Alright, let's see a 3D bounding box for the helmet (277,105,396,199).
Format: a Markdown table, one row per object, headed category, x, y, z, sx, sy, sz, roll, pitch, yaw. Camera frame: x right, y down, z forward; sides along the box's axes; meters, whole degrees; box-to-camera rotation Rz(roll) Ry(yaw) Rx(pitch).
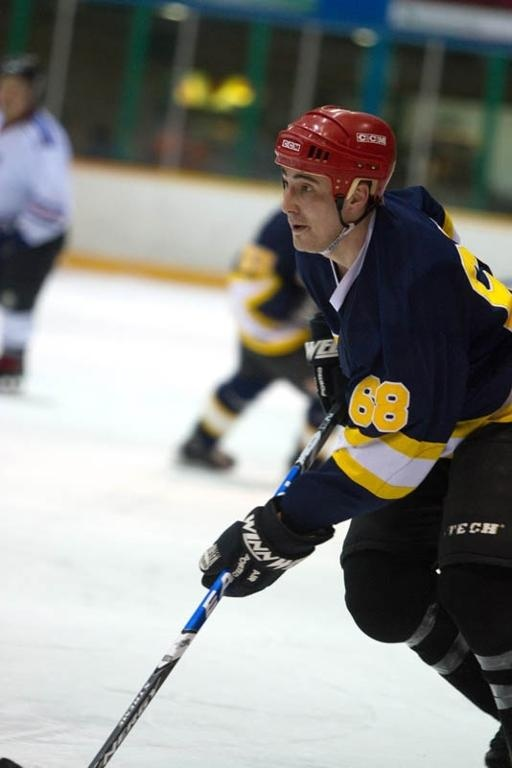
| category | x | y | z | sx | sy | sz | roll | pitch | yaw |
| --- | --- | --- | --- | --- | --- | --- | --- | --- | --- |
| helmet | 0.128 | -0.354 | 1.255 | 0.195 | 0.127 | 0.134 | 7 | 8 | -20 |
